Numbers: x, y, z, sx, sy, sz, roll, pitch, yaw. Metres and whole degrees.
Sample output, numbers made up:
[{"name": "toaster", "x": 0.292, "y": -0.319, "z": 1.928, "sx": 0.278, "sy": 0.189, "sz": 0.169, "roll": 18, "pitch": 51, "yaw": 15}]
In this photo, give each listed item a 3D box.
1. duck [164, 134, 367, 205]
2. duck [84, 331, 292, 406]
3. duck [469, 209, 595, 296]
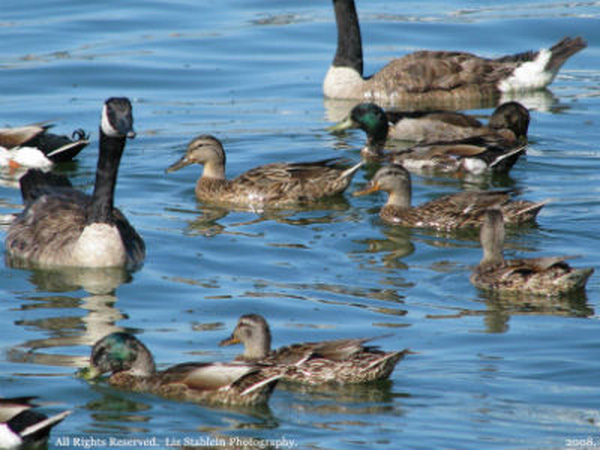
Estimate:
[{"name": "duck", "x": -0.858, "y": -0.947, "z": 16.202, "sx": 3.395, "sy": 1.129, "sz": 1.389, "roll": 16, "pitch": 77, "yaw": 5}, {"name": "duck", "x": -0.882, "y": 1.669, "z": 8.764, "sx": 3.305, "sy": 0.677, "sz": 0.665, "roll": 1, "pitch": 85, "yaw": 17}, {"name": "duck", "x": 3.481, "y": 0.411, "z": 12.244, "sx": 2.411, "sy": 1.985, "sz": 1.047, "roll": 2, "pitch": 103, "yaw": 13}]
